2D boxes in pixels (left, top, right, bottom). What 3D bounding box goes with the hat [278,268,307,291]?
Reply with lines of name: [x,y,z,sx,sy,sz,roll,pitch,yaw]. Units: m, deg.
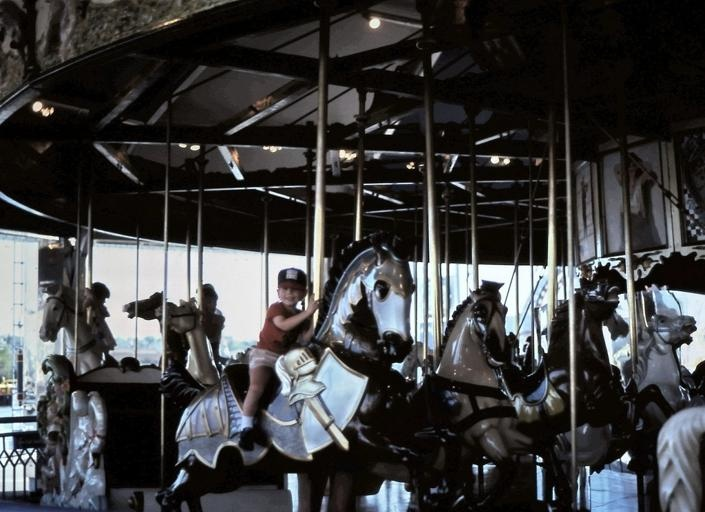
hat: [-0.492,0.192,7.875,0.151,0.137,0.217,3,0,-28]

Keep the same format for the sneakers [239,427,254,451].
sneakers: [-0.863,1.487,7.760,0.134,0.190,0.057,-1,-6,6]
